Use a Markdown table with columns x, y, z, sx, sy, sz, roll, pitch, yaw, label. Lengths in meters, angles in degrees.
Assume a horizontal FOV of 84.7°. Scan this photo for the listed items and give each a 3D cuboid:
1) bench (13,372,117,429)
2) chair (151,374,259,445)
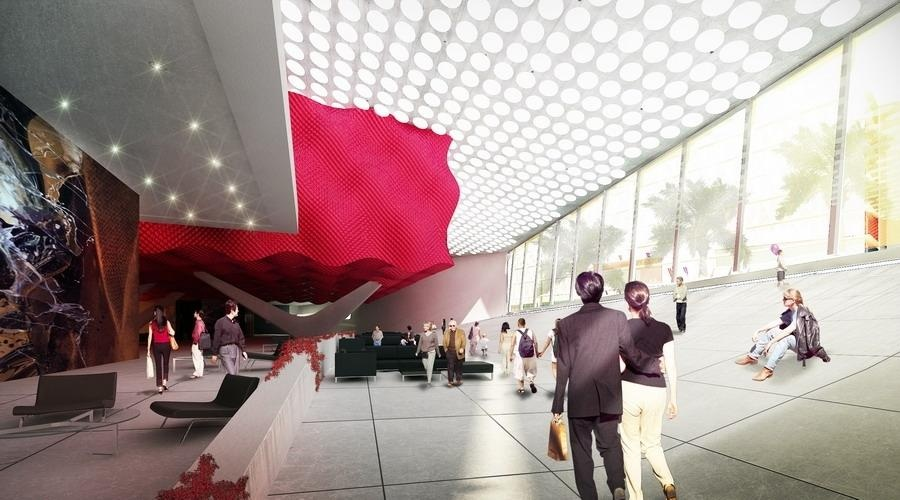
| x | y | z | sx | sy | sz | roll | pitch | yaw | label |
| --- | --- | --- | --- | --- | --- | --- | --- | --- | --- |
| -9.331 | 3.581 | 12.241 | 1.838 | 0.923 | 1.195 | 0 | -18 | -12 | bench |
| -6.027 | 3.807 | 12.177 | 1.670 | 1.055 | 1.805 | -8 | -12 | 43 | chair |
